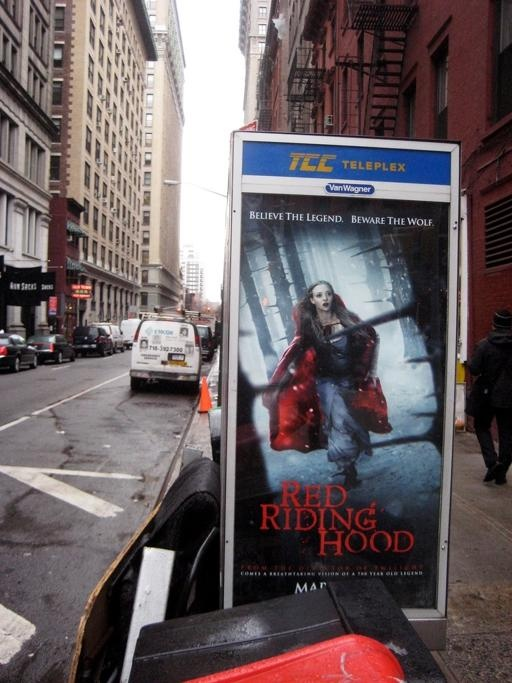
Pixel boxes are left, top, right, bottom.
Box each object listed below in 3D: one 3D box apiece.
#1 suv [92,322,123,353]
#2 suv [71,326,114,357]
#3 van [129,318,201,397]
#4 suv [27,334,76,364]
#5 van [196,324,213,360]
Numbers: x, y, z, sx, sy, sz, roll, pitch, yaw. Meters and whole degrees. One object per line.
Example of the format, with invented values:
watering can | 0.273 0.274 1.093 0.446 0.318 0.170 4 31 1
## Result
suv | -10.609 -0.440 40.781 1.176 1.731 3.450 -2 6 3
suv | -10.262 -0.123 35.103 1.339 1.422 2.877 0 4 3
van | -2.602 0.209 15.323 1.217 1.377 2.426 1 6 1
suv | -10.167 0.320 27.534 1.054 0.941 2.758 0 5 0
van | -2.762 -0.020 30.474 1.190 1.189 2.703 1 14 4
